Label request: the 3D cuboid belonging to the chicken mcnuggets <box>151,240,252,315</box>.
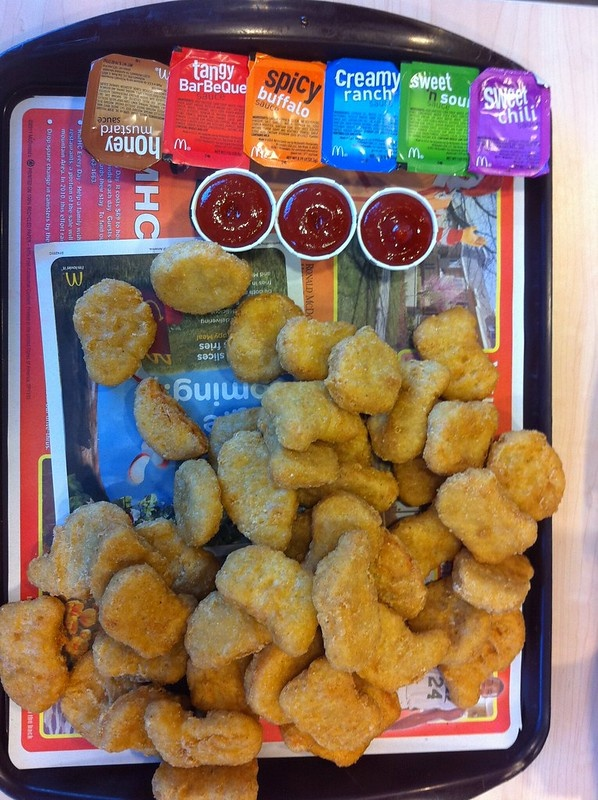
[{"bbox_3d":[-0.217,-0.266,1.661,0.217,0.202,0.084,-2,62,-2],"label":"chicken mcnuggets"}]
